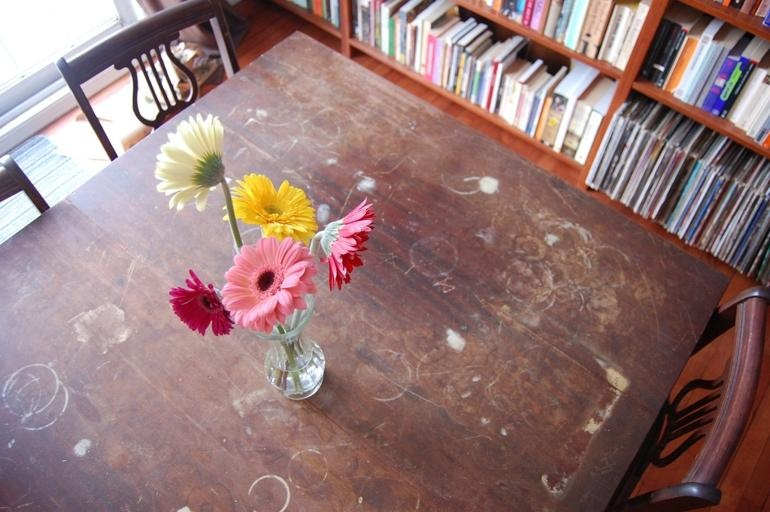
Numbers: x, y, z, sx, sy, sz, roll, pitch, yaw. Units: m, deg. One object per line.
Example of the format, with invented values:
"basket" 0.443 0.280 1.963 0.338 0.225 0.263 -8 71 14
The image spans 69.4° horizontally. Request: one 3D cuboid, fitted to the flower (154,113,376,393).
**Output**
"flower" -0.358 0.029 1.633 0.461 0.629 0.478 -25 63 -17
